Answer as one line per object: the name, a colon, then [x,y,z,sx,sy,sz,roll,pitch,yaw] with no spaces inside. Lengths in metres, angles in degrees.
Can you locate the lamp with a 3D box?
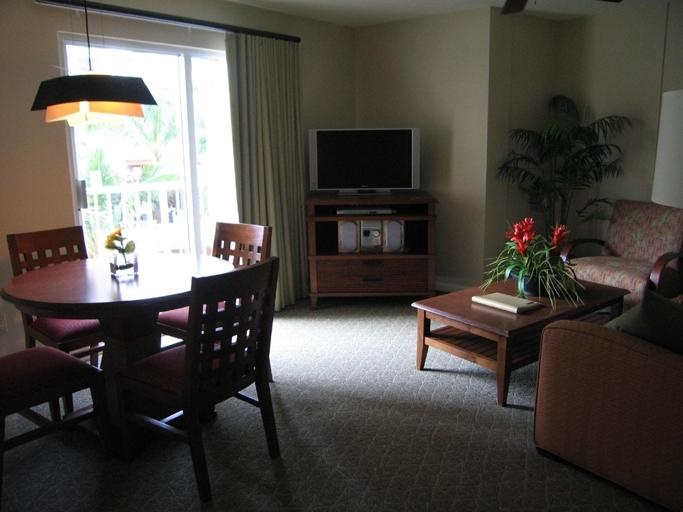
lamp: [-1.322,-0.998,2.794,0.517,0.692,0.576,-4,14,-5]

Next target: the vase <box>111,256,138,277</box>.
vase: [-1.259,0.056,2.929,0.129,0.128,0.130,-3,5,-26]

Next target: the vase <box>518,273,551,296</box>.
vase: [1.314,0.180,3.423,0.162,0.109,0.166,1,2,-9]

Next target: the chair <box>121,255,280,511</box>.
chair: [-0.748,0.585,2.668,0.742,1.142,0.548,4,12,31]

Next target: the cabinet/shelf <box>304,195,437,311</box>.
cabinet/shelf: [0.276,-0.020,4.768,1.054,0.935,0.450,-1,7,-1]

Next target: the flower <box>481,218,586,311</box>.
flower: [1.495,0.007,3.739,0.722,0.612,0.843,13,20,39]
